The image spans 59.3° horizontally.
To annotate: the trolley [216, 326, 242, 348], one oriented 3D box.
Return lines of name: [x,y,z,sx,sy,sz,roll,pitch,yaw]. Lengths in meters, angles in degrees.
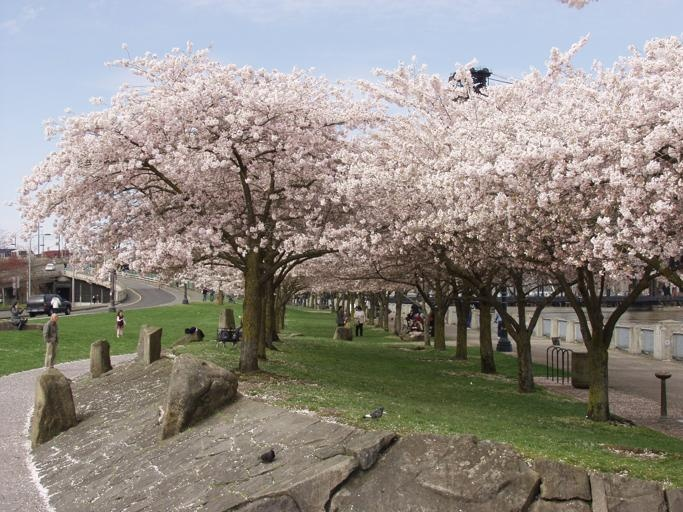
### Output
trolley: [-5.199,3.958,28.742,0.911,1.158,2.334,-12,7,-4]

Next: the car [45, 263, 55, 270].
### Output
car: [-45.009,1.669,94.048,1.055,0.878,1.700,0,-8,-8]

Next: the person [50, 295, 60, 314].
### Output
person: [-27.095,4.657,57.549,1.230,1.979,0.532,5,-42,-33]

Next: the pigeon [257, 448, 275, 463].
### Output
pigeon: [-1.494,4.051,12.171,0.370,0.238,0.170,-10,-7,42]
